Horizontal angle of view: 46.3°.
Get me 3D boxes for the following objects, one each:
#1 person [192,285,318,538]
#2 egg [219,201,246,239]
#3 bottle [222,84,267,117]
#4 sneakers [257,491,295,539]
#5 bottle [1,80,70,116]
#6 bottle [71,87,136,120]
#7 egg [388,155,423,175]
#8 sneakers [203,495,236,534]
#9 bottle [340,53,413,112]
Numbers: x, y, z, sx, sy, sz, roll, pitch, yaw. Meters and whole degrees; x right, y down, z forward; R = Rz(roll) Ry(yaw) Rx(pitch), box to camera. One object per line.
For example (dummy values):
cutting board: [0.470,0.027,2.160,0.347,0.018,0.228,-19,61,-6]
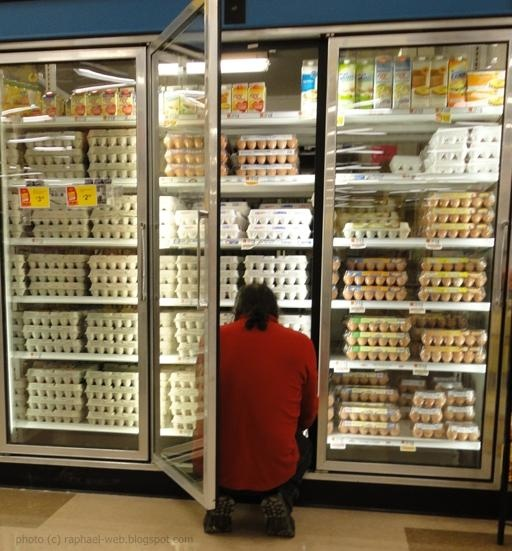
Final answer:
person: [0.033,0.675,3.066,0.554,1.232,0.404,2,16,6]
egg: [-0.145,-0.325,3.488,0.159,0.104,0.226,0,-2,2]
bottle: [-0.064,-0.979,3.373,0.236,0.151,0.022,1,3,8]
sneakers: [0.112,1.202,3.035,0.121,0.273,0.128,0,20,3]
bottle: [-1.312,-1.048,3.562,0.373,0.198,0.132,-4,16,-17]
bottle: [-0.871,-1.000,3.498,0.242,0.114,0.074,1,8,9]
egg: [0.833,-0.626,3.358,0.181,0.116,0.052,-3,20,6]
sneakers: [-0.180,1.218,3.062,0.153,0.243,0.107,7,-2,-6]
bottle: [0.663,-1.044,3.281,0.381,0.287,0.127,1,5,5]
